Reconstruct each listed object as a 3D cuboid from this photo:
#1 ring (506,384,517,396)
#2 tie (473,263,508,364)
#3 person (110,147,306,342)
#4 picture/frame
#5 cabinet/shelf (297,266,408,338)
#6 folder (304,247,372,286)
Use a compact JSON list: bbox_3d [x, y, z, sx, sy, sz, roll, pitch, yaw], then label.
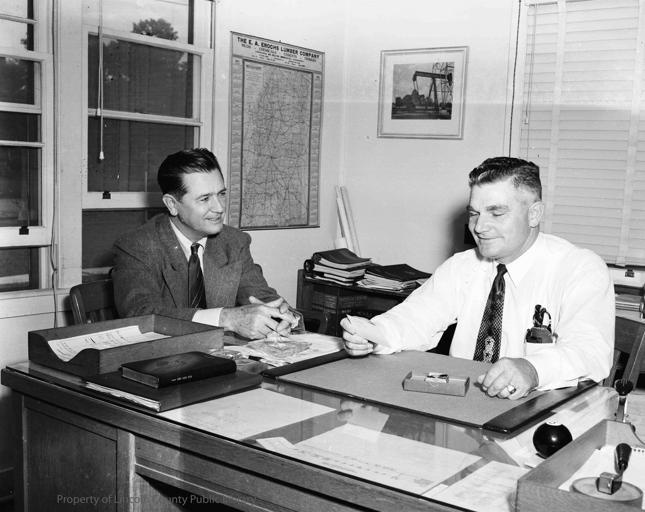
[{"bbox_3d":[0.520,0.366,1.469,0.026,0.020,0.007,-13,20,-7],"label":"ring"},{"bbox_3d":[0.675,0.222,2.101,0.104,0.471,0.042,12,31,24],"label":"tie"},{"bbox_3d":[-0.571,0.013,2.535,1.002,0.919,0.751,10,13,26],"label":"person"},{"bbox_3d":[0.867,-1.386,4.475,0.849,0.824,0.057,5,4,29],"label":"picture/frame"},{"bbox_3d":[0.159,0.436,4.406,0.865,0.332,0.853,21,20,10],"label":"cabinet/shelf"},{"bbox_3d":[0.111,0.087,4.307,0.344,0.123,0.347,7,13,39],"label":"folder"}]
